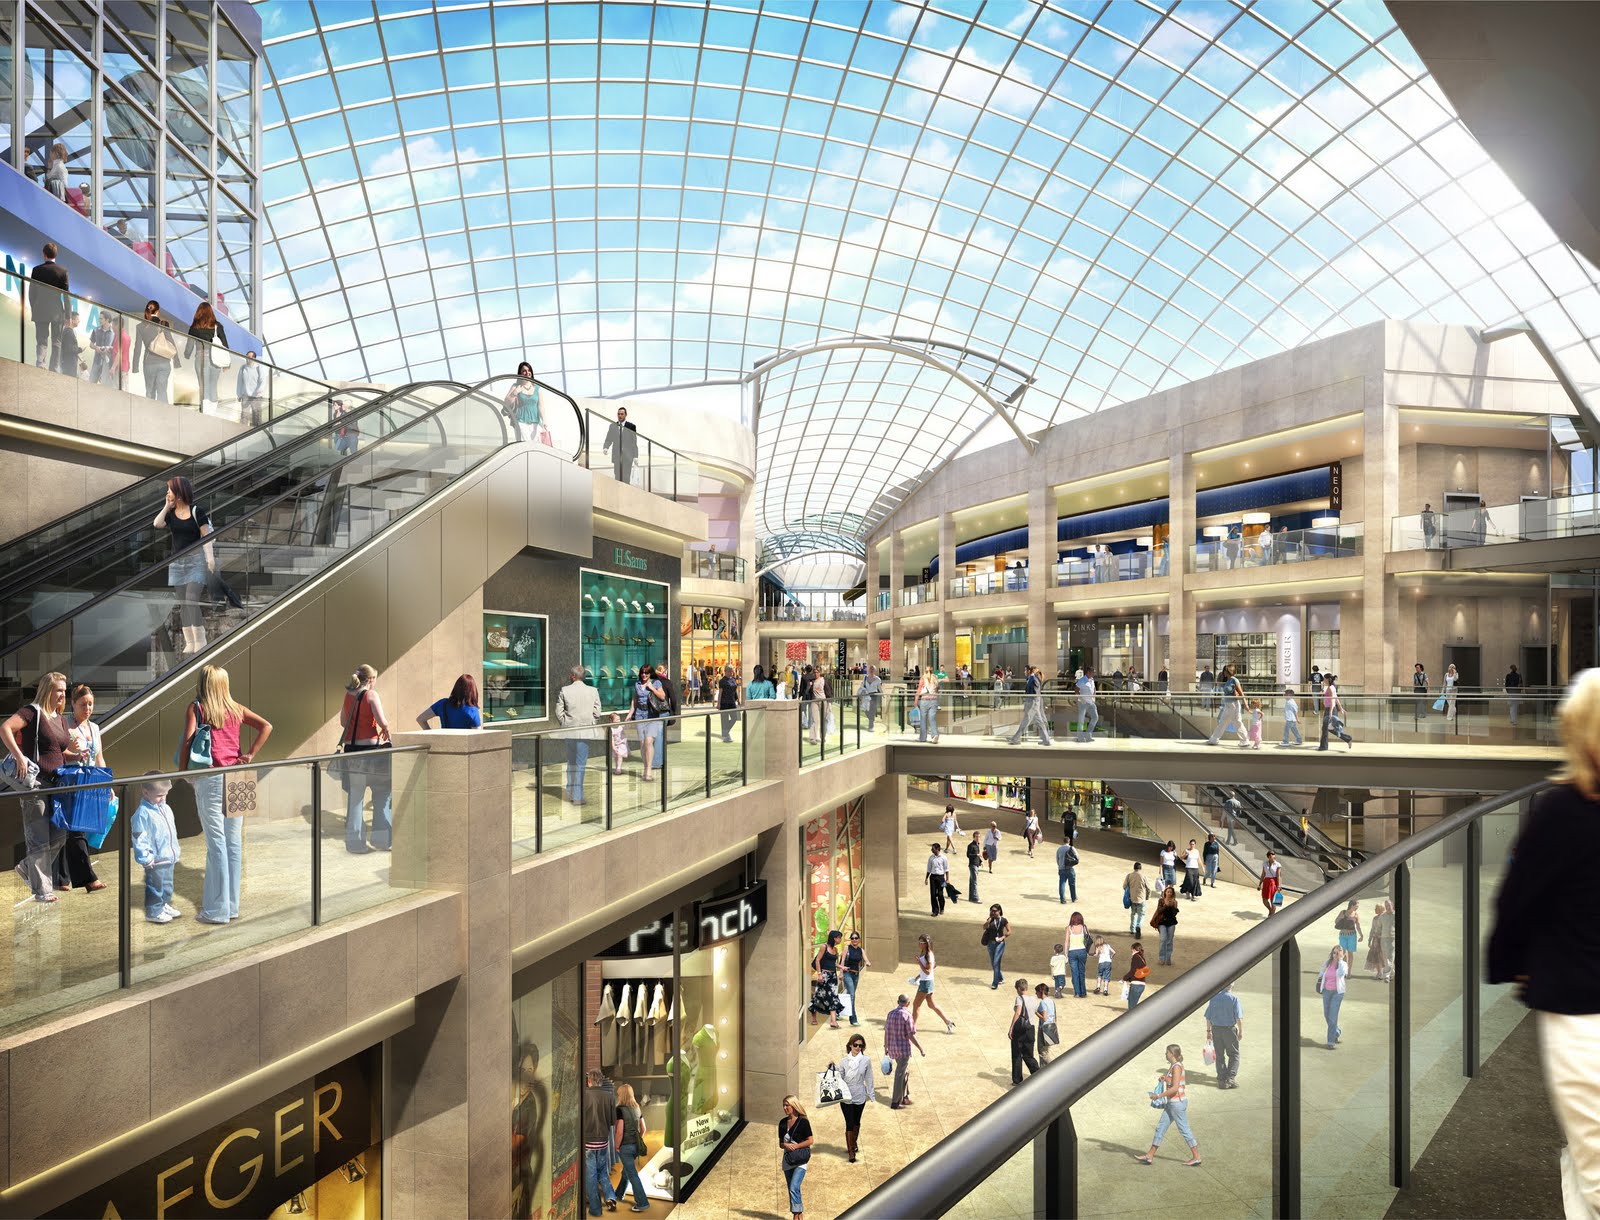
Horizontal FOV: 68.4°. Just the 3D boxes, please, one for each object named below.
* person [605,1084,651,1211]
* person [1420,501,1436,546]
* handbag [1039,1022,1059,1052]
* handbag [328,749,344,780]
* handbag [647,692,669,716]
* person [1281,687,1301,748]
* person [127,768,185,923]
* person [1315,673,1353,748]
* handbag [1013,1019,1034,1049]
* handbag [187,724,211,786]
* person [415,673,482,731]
[{"bbox_3d":[-2.680,8.564,18.897,0.474,2.035,1.060,0,-4,18],"label":"person"},{"bbox_3d":[19.741,-2.568,37.178,0.393,1.169,0.516,0,-4,19],"label":"person"},{"bbox_3d":[4.515,7.908,21.698,0.285,0.635,0.643,0,-4,12],"label":"handbag"},{"bbox_3d":[-4.589,1.573,11.694,0.131,0.297,0.216,2,-4,-5],"label":"handbag"},{"bbox_3d":[-2.415,1.619,20.385,0.209,0.300,0.622,-1,-5,24],"label":"handbag"},{"bbox_3d":[12.689,2.858,30.629,0.488,1.381,0.357,-1,-5,25],"label":"person"},{"bbox_3d":[-5.590,2.127,10.262,0.126,1.249,0.488,0,-4,18],"label":"person"},{"bbox_3d":[13.455,2.603,30.005,1.055,1.851,0.523,5,-6,-43],"label":"person"},{"bbox_3d":[3.998,7.700,21.393,0.385,0.570,0.527,1,-8,-5],"label":"handbag"},{"bbox_3d":[-5.923,1.419,11.624,0.212,0.523,0.371,4,-9,-26],"label":"handbag"},{"bbox_3d":[-4.510,1.172,15.173,0.678,0.714,2.662,3,-4,-18],"label":"person"}]
